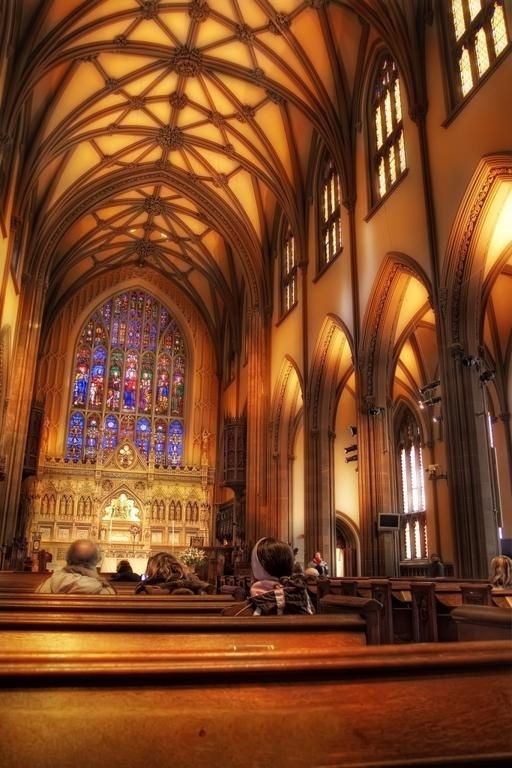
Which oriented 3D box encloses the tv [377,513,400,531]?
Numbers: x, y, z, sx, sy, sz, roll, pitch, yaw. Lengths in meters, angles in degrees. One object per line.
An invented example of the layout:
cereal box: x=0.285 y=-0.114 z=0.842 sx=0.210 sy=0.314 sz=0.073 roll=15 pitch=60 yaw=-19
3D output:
tv: x=3.174 y=3.298 z=12.746 sx=0.589 sy=0.604 sz=0.352 roll=-1 pitch=-13 yaw=6
